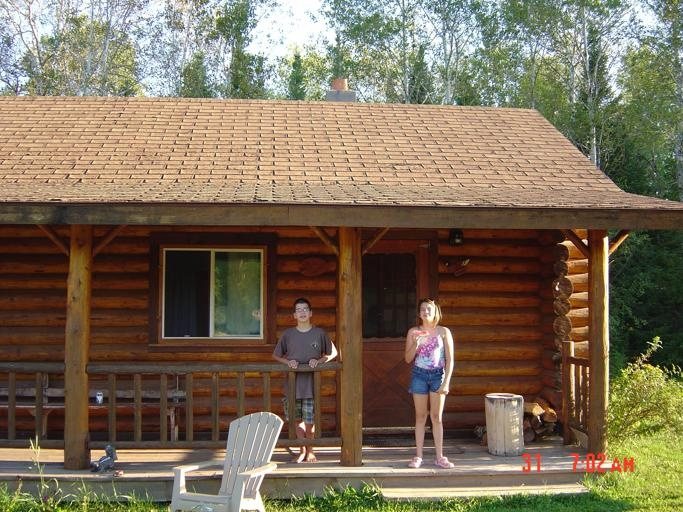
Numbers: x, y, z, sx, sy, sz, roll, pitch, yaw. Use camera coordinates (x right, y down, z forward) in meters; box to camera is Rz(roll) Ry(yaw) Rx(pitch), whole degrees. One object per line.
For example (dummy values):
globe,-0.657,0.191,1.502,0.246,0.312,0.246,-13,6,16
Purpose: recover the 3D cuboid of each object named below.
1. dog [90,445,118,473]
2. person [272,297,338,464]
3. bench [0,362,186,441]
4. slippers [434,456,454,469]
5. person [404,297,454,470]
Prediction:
dog,-3.808,3.266,15.352,0.572,0.503,0.246,3,-9,-9
person,-0.608,2.043,15.793,0.806,2.650,0.659,-7,-10,32
bench,-4.300,2.508,16.414,3.176,1.374,2.266,-1,-8,-9
slippers,1.709,3.369,15.744,0.298,0.192,0.346,-3,-8,5
person,1.464,2.091,15.748,0.793,2.736,0.334,-3,-8,3
